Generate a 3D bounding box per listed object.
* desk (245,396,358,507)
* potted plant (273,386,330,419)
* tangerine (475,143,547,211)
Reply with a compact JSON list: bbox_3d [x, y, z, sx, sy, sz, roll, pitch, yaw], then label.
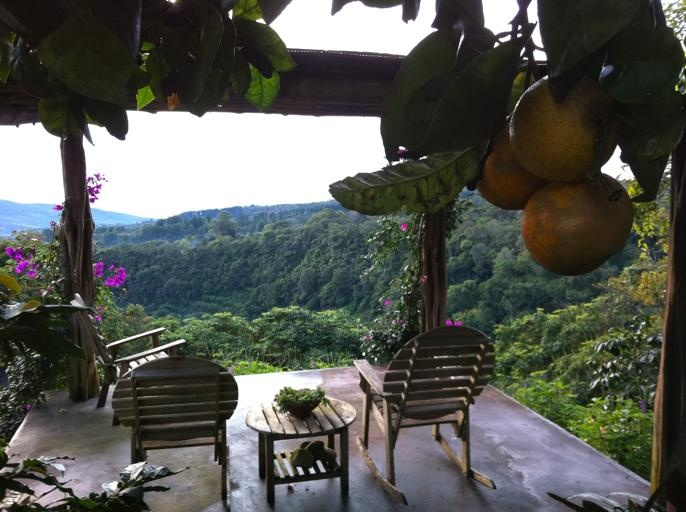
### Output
[{"bbox_3d":[-0.239,1.068,2.858,0.602,0.514,0.531,1,2,-1],"label":"desk"},{"bbox_3d":[-0.242,0.787,2.895,0.270,0.147,0.265,13,3,15],"label":"potted plant"},{"bbox_3d":[0.120,-0.055,0.379,0.031,0.050,0.041,-2,20,-42],"label":"tangerine"}]
